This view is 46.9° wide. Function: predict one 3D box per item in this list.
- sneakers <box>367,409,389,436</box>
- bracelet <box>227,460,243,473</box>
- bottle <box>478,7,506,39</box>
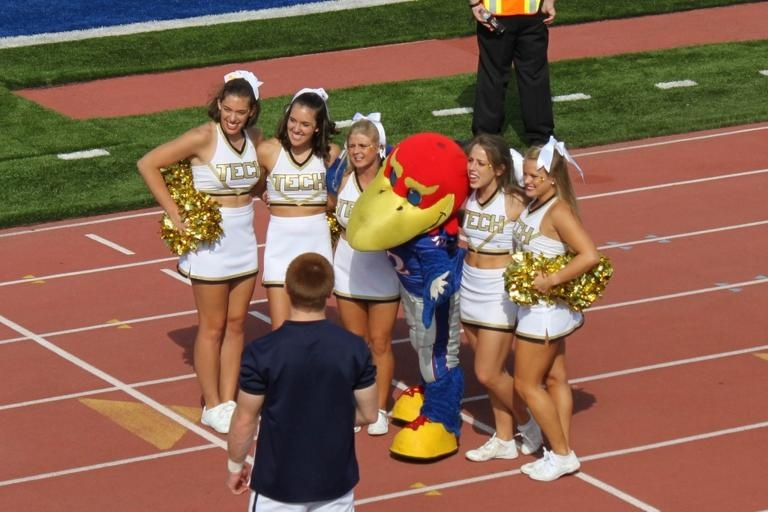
[{"bbox_3d":[-0.024,1.624,8.598,0.237,0.207,0.517,0,4,6],"label":"sneakers"},{"bbox_3d":[-1.111,1.549,6.472,0.116,0.087,0.097,14,6,8],"label":"bracelet"},{"bbox_3d":[1.552,-3.381,12.797,0.590,0.175,0.173,33,19,-20],"label":"bottle"}]
